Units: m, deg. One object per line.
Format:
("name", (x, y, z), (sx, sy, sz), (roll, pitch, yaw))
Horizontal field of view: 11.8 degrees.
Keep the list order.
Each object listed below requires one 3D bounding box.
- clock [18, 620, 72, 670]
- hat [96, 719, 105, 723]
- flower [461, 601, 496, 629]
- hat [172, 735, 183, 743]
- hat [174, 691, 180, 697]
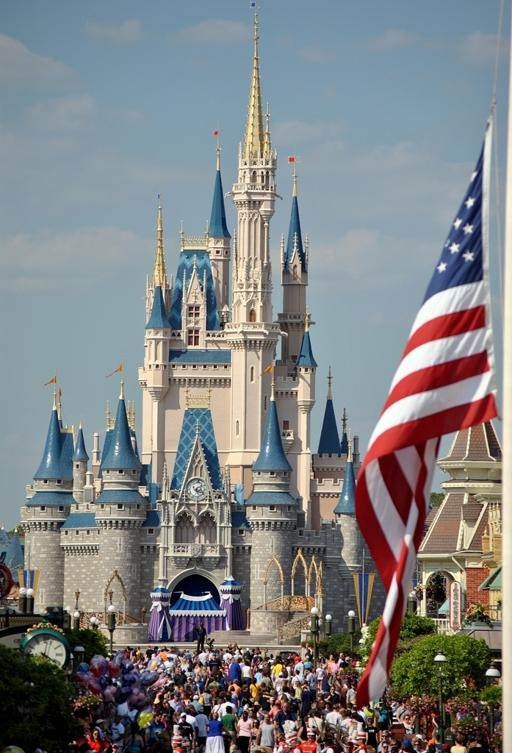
("clock", (-3.099, 3.934, 36.589), (0.772, 0.635, 0.879), (2, -6, -13))
("hat", (-2.191, 4.876, 35.131), (0.064, 0.076, 0.080), (3, 9, 45))
("flower", (4.321, 4.531, 48.002), (0.638, 0.608, 0.574), (3, -10, 4))
("hat", (-1.106, 5.077, 34.815), (0.138, 0.132, 0.132), (1, -6, 0))
("hat", (-1.180, 4.804, 37.578), (0.079, 0.111, 0.083), (0, -2, -18))
